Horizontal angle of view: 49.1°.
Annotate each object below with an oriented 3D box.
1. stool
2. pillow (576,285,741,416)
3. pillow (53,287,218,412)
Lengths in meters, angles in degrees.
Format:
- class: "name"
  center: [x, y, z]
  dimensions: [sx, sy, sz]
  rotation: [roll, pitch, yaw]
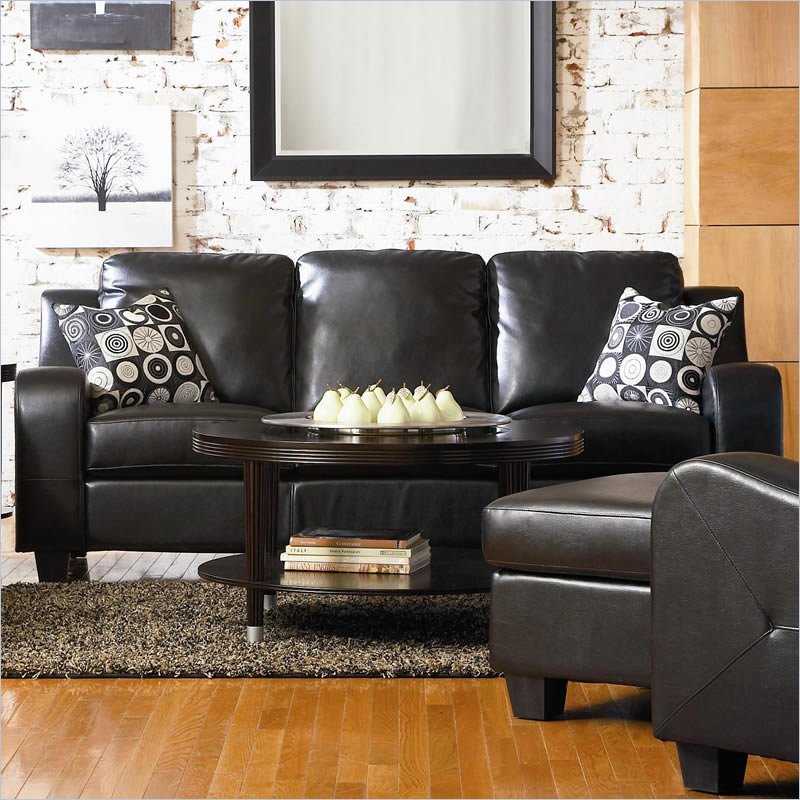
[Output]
- class: "stool"
  center: [0.344, 0.324, 1.780]
  dimensions: [0.372, 0.372, 0.514]
  rotation: [-1, -1, 15]
- class: "pillow"
  center: [0.890, -0.180, 3.062]
  dimensions: [0.510, 0.419, 0.361]
  rotation: [1, 2, 21]
- class: "pillow"
  center: [-0.975, -0.192, 3.257]
  dimensions: [0.531, 0.458, 0.321]
  rotation: [-1, 2, -34]
